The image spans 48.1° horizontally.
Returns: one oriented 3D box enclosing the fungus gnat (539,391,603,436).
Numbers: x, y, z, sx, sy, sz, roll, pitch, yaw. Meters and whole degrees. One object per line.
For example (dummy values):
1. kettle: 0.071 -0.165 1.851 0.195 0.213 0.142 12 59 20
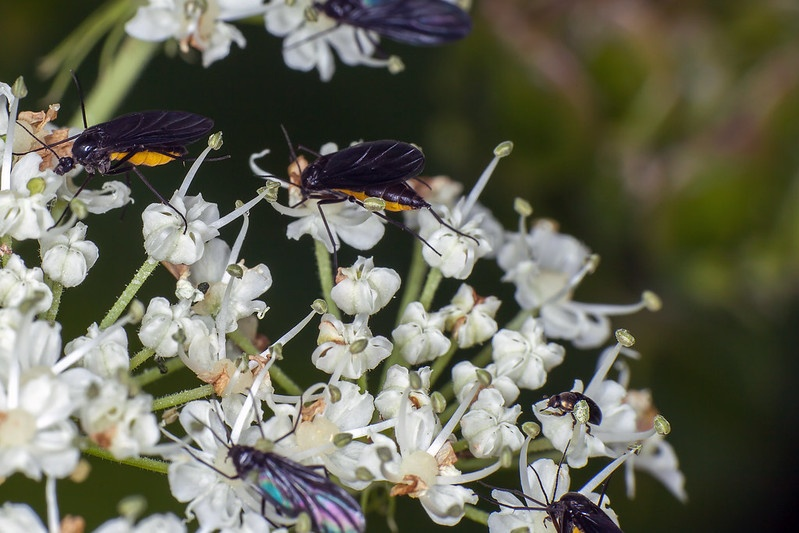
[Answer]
1. fungus gnat: 0.554 0.445 2.864 0.189 0.098 0.175 16 -25 10
